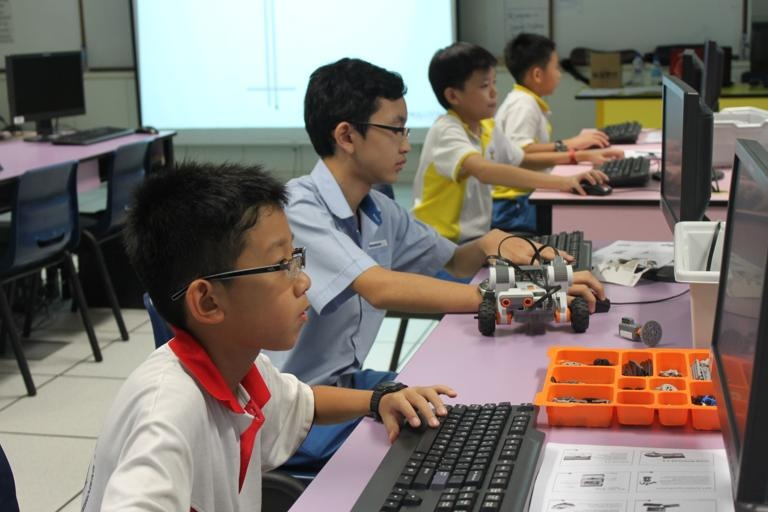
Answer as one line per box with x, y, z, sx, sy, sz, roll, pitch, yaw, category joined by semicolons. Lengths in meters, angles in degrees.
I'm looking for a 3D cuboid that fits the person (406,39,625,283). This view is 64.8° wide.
0.650;-0.378;3.069;0.981;1.345;0.716;4;18;24;person

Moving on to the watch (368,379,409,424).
0.008;0.300;1.327;0.094;0.092;0.062;1;9;-29;watch

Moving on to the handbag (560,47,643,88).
2.073;-1.747;5.565;0.336;0.310;0.348;16;41;38;handbag

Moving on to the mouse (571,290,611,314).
0.587;0.134;1.699;0.110;0.043;0.065;-3;16;3;mouse

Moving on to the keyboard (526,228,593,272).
0.637;-0.035;2.068;0.136;0.045;0.193;-3;31;8;keyboard

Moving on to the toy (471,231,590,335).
0.396;0.064;1.643;0.182;0.142;0.322;0;14;5;toy

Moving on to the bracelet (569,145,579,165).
1.039;-0.545;3.316;0.046;0.079;0.073;-1;-9;8;bracelet

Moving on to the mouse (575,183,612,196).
0.961;-0.311;2.744;0.102;0.029;0.060;7;24;31;mouse

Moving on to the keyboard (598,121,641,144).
1.475;-0.764;3.757;0.187;0.063;0.264;-14;23;25;keyboard
